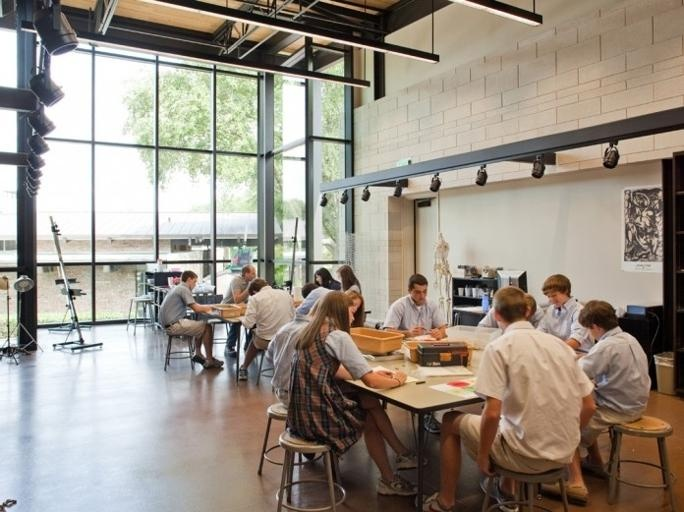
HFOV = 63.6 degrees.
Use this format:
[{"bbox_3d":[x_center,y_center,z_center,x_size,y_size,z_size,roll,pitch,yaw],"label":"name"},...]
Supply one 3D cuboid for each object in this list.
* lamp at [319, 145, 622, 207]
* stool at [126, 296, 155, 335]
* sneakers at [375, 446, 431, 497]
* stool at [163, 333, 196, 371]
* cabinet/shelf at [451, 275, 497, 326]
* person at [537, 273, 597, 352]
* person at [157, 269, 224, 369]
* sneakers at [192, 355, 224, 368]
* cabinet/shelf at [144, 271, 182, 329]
[{"bbox_3d":[1.523,-1.134,7.727,0.915,0.476,4.741,-1,-1,-39],"label":"lamp"},{"bbox_3d":[-4.025,1.169,11.165,0.508,0.657,0.497,9,12,43],"label":"stool"},{"bbox_3d":[0.524,1.801,4.541,0.479,0.207,0.155,-1,1,-36],"label":"sneakers"},{"bbox_3d":[-2.450,1.393,8.355,0.447,0.526,0.433,-3,8,-38],"label":"stool"},{"bbox_3d":[1.914,0.633,7.960,0.248,0.682,0.762,5,-6,-30],"label":"cabinet/shelf"},{"bbox_3d":[2.271,0.551,5.507,0.645,0.865,0.714,2,-5,-4],"label":"person"},{"bbox_3d":[-2.143,0.888,7.853,0.913,1.265,0.691,-1,0,8],"label":"person"},{"bbox_3d":[-1.908,1.491,7.794,0.345,0.099,0.194,16,-9,-9],"label":"sneakers"},{"bbox_3d":[-3.037,0.704,9.397,0.434,1.173,1.153,3,-1,-9],"label":"cabinet/shelf"}]
